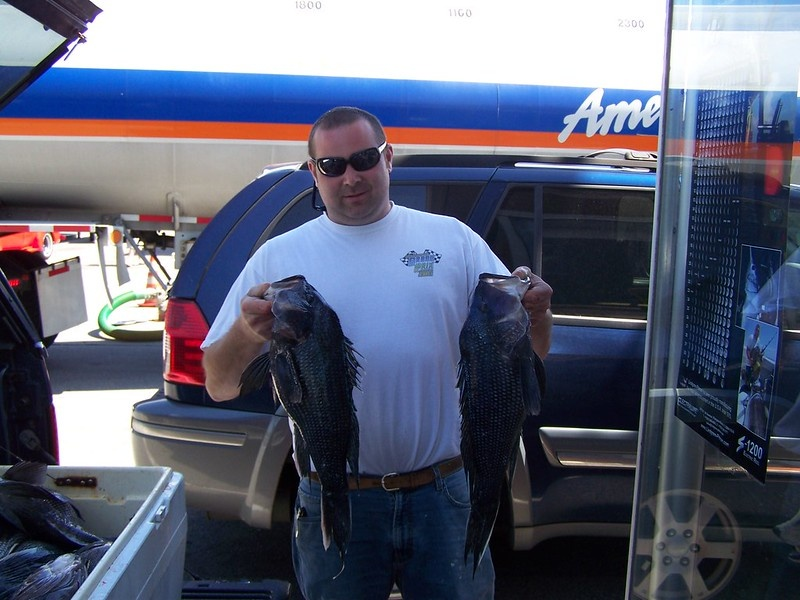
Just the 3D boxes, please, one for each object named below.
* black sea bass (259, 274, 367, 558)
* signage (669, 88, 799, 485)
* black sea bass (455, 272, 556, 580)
[{"bbox_3d":[-0.285,0.404,2.317,0.291,0.962,0.152,-4,10,-12],"label":"black sea bass"},{"bbox_3d":[1.187,-0.094,2.400,0.207,1.298,0.494,-6,11,-20],"label":"signage"},{"bbox_3d":[0.377,0.364,2.447,0.339,1.107,0.280,6,9,21],"label":"black sea bass"}]
